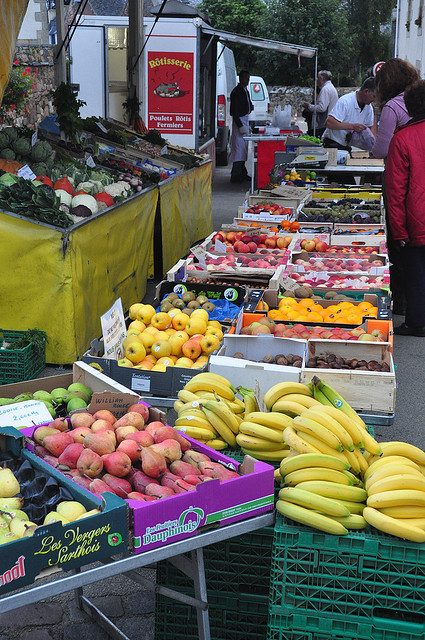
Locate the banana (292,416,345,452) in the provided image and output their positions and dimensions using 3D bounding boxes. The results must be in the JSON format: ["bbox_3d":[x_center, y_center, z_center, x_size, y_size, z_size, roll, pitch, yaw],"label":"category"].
[{"bbox_3d":[0.338,0.371,1.528,0.176,0.088,0.055,8,14,35],"label":"banana"}]

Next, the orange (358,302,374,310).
[{"bbox_3d":[1.388,-0.127,4.278,0.079,0.044,0.080,3,18,19],"label":"orange"}]

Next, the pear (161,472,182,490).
[{"bbox_3d":[-0.119,0.466,1.360,0.052,0.027,0.025,-4,19,-18],"label":"pear"}]

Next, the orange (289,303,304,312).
[{"bbox_3d":[0.765,-0.113,4.266,0.074,0.089,0.074,-3,11,2],"label":"orange"}]

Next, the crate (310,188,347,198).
[{"bbox_3d":[2.035,-2.244,8.302,0.603,0.186,0.465,2,12,12],"label":"crate"}]

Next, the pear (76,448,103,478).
[{"bbox_3d":[-0.356,0.418,1.363,0.039,0.040,0.057,-42,24,-2],"label":"pear"}]

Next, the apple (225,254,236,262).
[{"bbox_3d":[0.209,-0.697,5.290,0.099,0.115,0.099,-26,8,5],"label":"apple"}]

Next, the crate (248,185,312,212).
[{"bbox_3d":[1.105,-2.072,7.947,0.933,0.427,0.839,2,12,13],"label":"crate"}]

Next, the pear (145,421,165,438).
[{"bbox_3d":[-0.202,0.372,1.604,0.041,0.035,0.035,21,16,1],"label":"pear"}]

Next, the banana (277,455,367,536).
[{"bbox_3d":[0.311,0.508,1.380,0.228,0.081,0.172,18,32,26],"label":"banana"}]

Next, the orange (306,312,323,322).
[{"bbox_3d":[0.889,-0.022,4.103,0.106,0.062,0.078,13,-7,-18],"label":"orange"}]

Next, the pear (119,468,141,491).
[{"bbox_3d":[-0.238,0.458,1.372,0.042,0.040,0.098,33,25,-14],"label":"pear"}]

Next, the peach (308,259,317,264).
[{"bbox_3d":[1.162,-0.675,5.466,0.065,0.048,0.071,-1,1,1],"label":"peach"}]

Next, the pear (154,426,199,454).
[{"bbox_3d":[-0.131,0.394,1.570,0.160,0.069,0.067,22,0,-6],"label":"pear"}]

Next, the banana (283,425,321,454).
[{"bbox_3d":[0.289,0.401,1.531,0.069,0.046,0.170,-7,14,-30],"label":"banana"}]

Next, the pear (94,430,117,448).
[{"bbox_3d":[-0.335,0.373,1.514,0.048,0.051,0.059,0,50,40],"label":"pear"}]

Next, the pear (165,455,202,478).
[{"bbox_3d":[-0.086,0.450,1.423,0.051,0.049,0.114,34,-8,-38],"label":"pear"}]

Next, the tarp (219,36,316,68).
[{"bbox_3d":[1.466,-6.570,11.560,1.659,0.488,1.176,11,26,-8],"label":"tarp"}]

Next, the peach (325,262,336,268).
[{"bbox_3d":[1.342,-0.624,5.357,0.085,0.070,0.070,5,-31,1],"label":"peach"}]

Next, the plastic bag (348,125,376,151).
[{"bbox_3d":[3.238,-3.929,10.220,0.719,0.439,0.531,-11,16,-42],"label":"plastic bag"}]

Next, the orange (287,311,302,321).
[{"bbox_3d":[0.704,-0.043,4.074,0.086,0.087,0.099,11,0,-18],"label":"orange"}]

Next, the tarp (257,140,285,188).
[{"bbox_3d":[1.413,-3.814,11.500,0.637,1.110,0.349,1,11,8],"label":"tarp"}]

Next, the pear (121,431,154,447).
[{"bbox_3d":[-0.226,0.375,1.491,0.071,0.035,0.043,12,28,16],"label":"pear"}]

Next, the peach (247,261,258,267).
[{"bbox_3d":[0.443,-0.610,5.218,0.060,0.073,0.060,-9,-3,-33],"label":"peach"}]

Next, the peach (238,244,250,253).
[{"bbox_3d":[0.377,-0.865,5.635,0.095,0.107,0.101,8,31,16],"label":"peach"}]

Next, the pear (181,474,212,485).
[{"bbox_3d":[-0.055,0.457,1.354,0.047,0.020,0.025,0,0,20],"label":"pear"}]

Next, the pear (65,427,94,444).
[{"bbox_3d":[-0.430,0.374,1.525,0.072,0.041,0.039,4,22,7],"label":"pear"}]

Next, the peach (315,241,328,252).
[{"bbox_3d":[1.392,-0.925,5.933,0.098,0.129,0.259,10,16,41],"label":"peach"}]

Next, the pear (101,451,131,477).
[{"bbox_3d":[-0.275,0.415,1.379,0.075,0.056,0.054,15,32,39],"label":"pear"}]

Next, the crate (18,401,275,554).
[{"bbox_3d":[-0.181,0.417,1.403,0.521,0.226,0.650,-10,18,-28],"label":"crate"}]

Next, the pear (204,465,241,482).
[{"bbox_3d":[0.033,0.448,1.397,0.087,0.040,0.041,23,22,8],"label":"pear"}]

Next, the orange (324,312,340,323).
[{"bbox_3d":[1.050,-0.011,4.128,0.090,0.092,0.105,13,-9,6],"label":"orange"}]

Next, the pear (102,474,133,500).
[{"bbox_3d":[-0.264,0.459,1.309,0.083,0.035,0.039,39,41,14],"label":"pear"}]

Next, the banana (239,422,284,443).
[{"bbox_3d":[0.174,0.401,1.681,0.087,0.031,0.088,15,-2,-12],"label":"banana"}]

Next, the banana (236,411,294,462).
[{"bbox_3d":[0.184,0.412,1.688,0.156,0.086,0.197,0,-32,11],"label":"banana"}]
